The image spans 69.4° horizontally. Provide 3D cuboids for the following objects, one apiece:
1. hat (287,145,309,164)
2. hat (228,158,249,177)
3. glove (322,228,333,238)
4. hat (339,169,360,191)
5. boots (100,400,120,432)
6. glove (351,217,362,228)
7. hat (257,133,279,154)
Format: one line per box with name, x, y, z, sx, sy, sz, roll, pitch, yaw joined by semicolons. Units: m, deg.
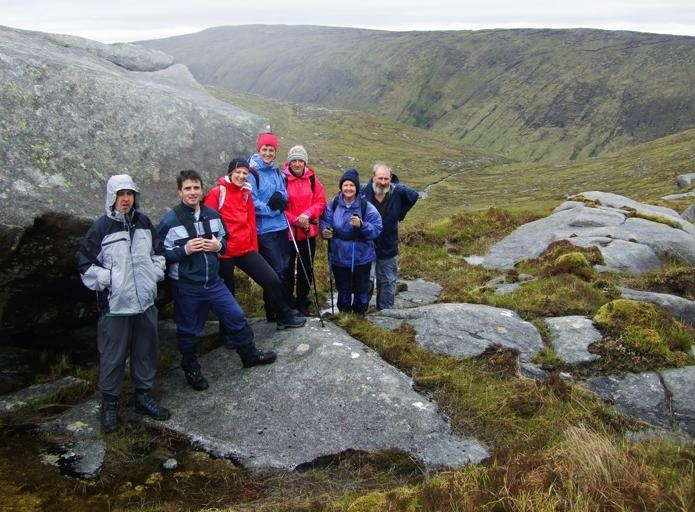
hat;-1.304;-2.664;13.098;0.530;0.446;0.501;2;0;-7
hat;-2.528;-2.027;11.493;0.421;0.313;0.427;-5;8;-37
glove;-0.557;-0.622;13.799;0.302;0.237;0.343;19;11;14
hat;0.063;-2.081;13.607;0.515;0.629;0.696;2;24;1
boots;-4.521;2.993;9.587;0.257;0.275;0.705;3;33;-43
glove;0.229;-0.908;13.479;0.284;0.378;0.216;2;25;-1
hat;-1.974;-2.870;12.531;0.488;0.462;0.632;3;-2;-15
